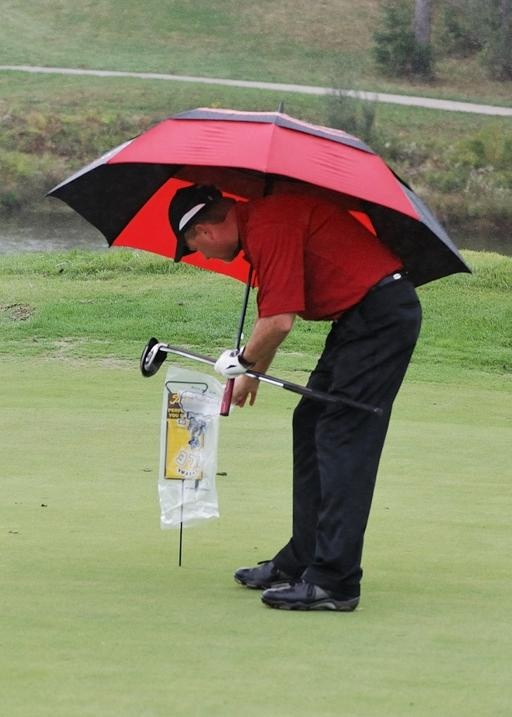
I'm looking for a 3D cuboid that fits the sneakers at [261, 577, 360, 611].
[{"bbox_3d":[0.182,0.870,3.944,0.403,0.127,0.116,6,-9,1],"label":"sneakers"}]

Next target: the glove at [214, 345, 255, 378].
[{"bbox_3d":[-0.084,0.012,3.884,0.057,0.128,0.084,32,25,-52],"label":"glove"}]

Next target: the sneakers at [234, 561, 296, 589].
[{"bbox_3d":[0.020,0.844,4.188,0.283,0.095,0.087,5,-2,3],"label":"sneakers"}]

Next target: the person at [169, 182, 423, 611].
[{"bbox_3d":[0.098,0.152,3.949,0.819,1.533,0.437,10,12,18],"label":"person"}]
